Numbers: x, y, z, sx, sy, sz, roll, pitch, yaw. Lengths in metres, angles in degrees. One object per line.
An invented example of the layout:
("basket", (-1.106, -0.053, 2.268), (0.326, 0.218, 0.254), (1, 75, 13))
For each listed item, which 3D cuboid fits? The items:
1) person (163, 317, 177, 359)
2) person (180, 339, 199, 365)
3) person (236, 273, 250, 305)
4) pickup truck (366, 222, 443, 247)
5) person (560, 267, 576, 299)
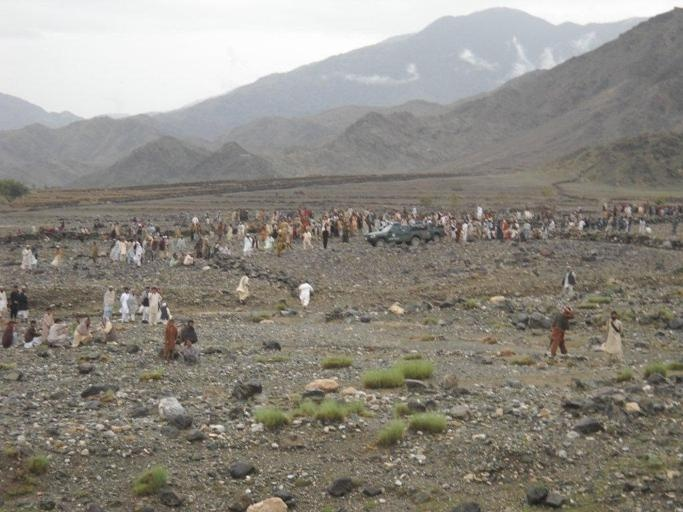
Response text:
("person", (-5.123, 2.458, 19.364), (0.452, 1.227, 0.613), (-3, 13, -16))
("person", (-4.523, 2.839, 19.120), (0.680, 0.663, 0.420), (5, 13, 21))
("person", (-4.214, 1.411, 27.872), (0.511, 1.139, 0.832), (-3, 13, -13))
("pickup truck", (3.938, -1.370, 40.633), (3.887, 1.455, 1.851), (-2, 4, -30))
("person", (10.332, 1.294, 29.300), (0.706, 1.800, 0.720), (-11, 15, -24))
